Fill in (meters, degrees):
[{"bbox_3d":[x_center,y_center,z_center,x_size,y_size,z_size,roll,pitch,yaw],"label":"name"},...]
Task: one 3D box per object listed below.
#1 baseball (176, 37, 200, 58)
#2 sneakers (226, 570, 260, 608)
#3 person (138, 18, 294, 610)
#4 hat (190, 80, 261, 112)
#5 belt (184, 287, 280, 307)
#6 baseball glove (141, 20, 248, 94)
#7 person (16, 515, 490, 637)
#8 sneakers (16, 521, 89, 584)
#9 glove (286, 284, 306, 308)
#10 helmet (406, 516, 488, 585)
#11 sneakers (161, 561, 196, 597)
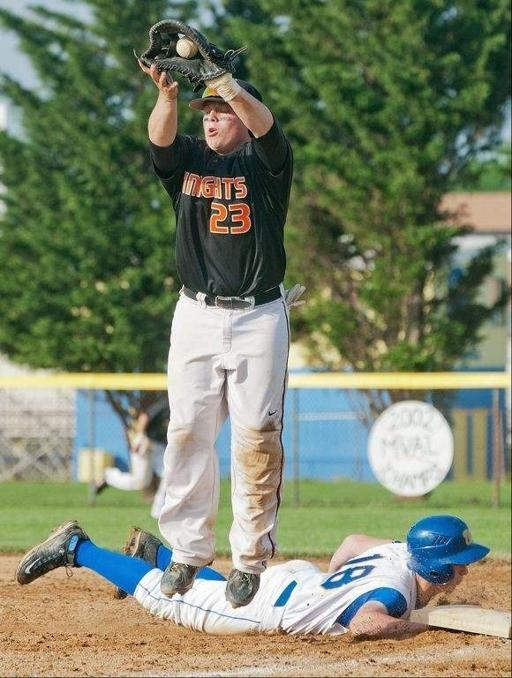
[{"bbox_3d":[-0.373,-1.581,8.026,0.158,0.125,0.059,0,0,28],"label":"baseball"},{"bbox_3d":[-0.072,1.376,8.268,0.128,0.110,0.235,7,25,4],"label":"sneakers"},{"bbox_3d":[-0.200,-0.110,8.193,0.802,3.193,0.540,0,0,5],"label":"person"},{"bbox_3d":[-0.208,-1.333,8.263,0.196,0.123,0.284,-33,-3,9],"label":"hat"},{"bbox_3d":[-0.132,-0.222,8.211,0.549,0.124,0.158,0,0,2],"label":"belt"},{"bbox_3d":[-0.340,-1.589,8.108,0.535,0.273,0.406,18,32,21],"label":"baseball glove"},{"bbox_3d":[0.073,1.330,8.813,1.818,0.574,1.058,2,-1,12],"label":"person"},{"bbox_3d":[-1.337,1.425,9.795,0.478,0.175,0.214,-42,37,-11],"label":"sneakers"},{"bbox_3d":[0.217,-0.244,8.558,0.062,0.148,0.157,-20,13,-22],"label":"glove"},{"bbox_3d":[1.131,1.216,8.671,0.403,0.334,0.333,9,2,14],"label":"helmet"},{"bbox_3d":[-0.430,1.341,8.327,0.107,0.123,0.278,16,4,-2],"label":"sneakers"}]
